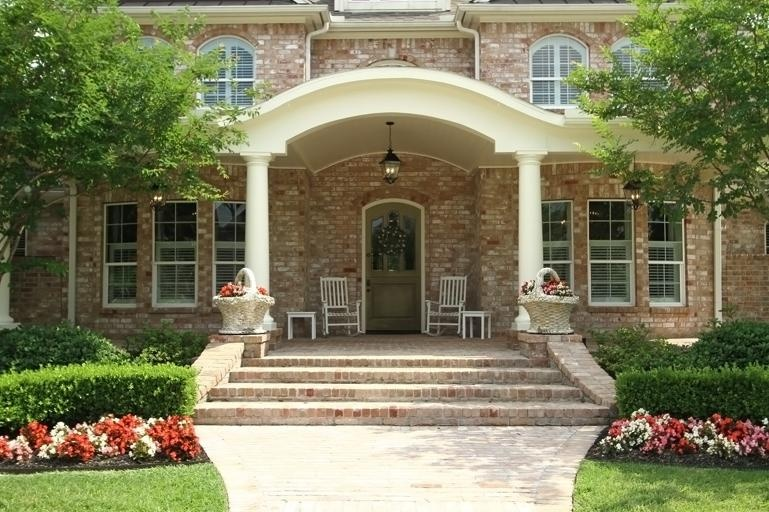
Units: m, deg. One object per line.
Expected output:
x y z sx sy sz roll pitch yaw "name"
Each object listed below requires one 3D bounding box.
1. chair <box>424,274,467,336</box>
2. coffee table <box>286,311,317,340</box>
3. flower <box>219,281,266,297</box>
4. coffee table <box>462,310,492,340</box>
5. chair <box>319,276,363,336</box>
1.455 1.137 19.373 1.015 1.373 1.284 0 -7 2 "chair"
-1.913 1.564 18.769 0.666 0.557 0.636 0 -7 -5 "coffee table"
-2.702 0.633 15.746 0.861 0.304 0.636 1 -7 -4 "flower"
2.079 1.524 18.662 0.669 0.588 0.645 -1 -5 13 "coffee table"
-1.033 1.145 19.428 0.981 1.378 1.118 1 -7 -4 "chair"
